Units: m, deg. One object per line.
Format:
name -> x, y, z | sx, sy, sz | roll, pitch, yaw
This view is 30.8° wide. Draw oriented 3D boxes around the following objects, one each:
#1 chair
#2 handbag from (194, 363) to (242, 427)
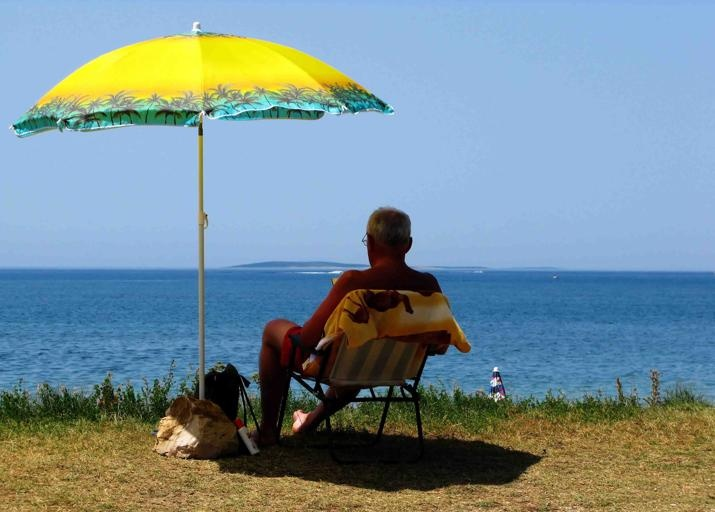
chair -> 0.079, 1.683, 18.437 | 2.010, 2.462, 2.981 | 4, -4, -34
handbag -> -1.902, 2.033, 18.509 | 0.810, 1.291, 0.637 | 2, -12, -7
